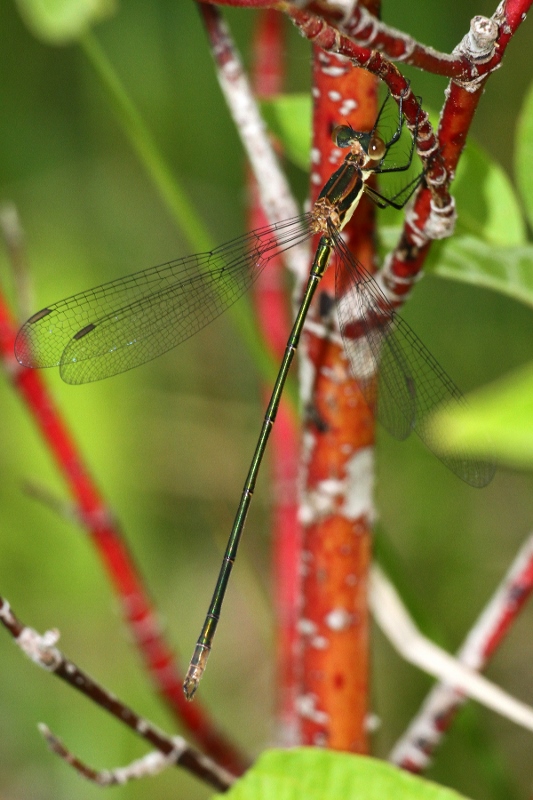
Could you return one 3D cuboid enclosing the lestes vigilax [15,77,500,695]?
[{"bbox_3d":[0.004,0.018,0.971,0.444,0.594,0.123,19,3,28],"label":"lestes vigilax"}]
